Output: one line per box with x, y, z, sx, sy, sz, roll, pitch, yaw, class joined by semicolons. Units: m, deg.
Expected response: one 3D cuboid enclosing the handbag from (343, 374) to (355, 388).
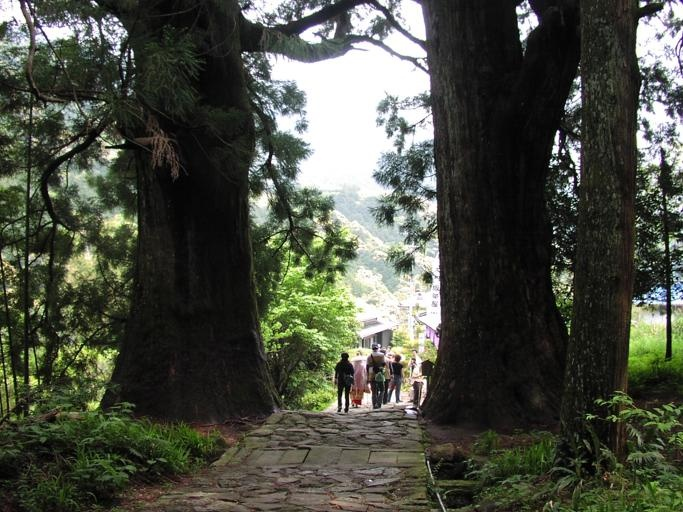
0.137;2.501;12.597;0.276;0.379;0.192;4;11;-1;handbag
